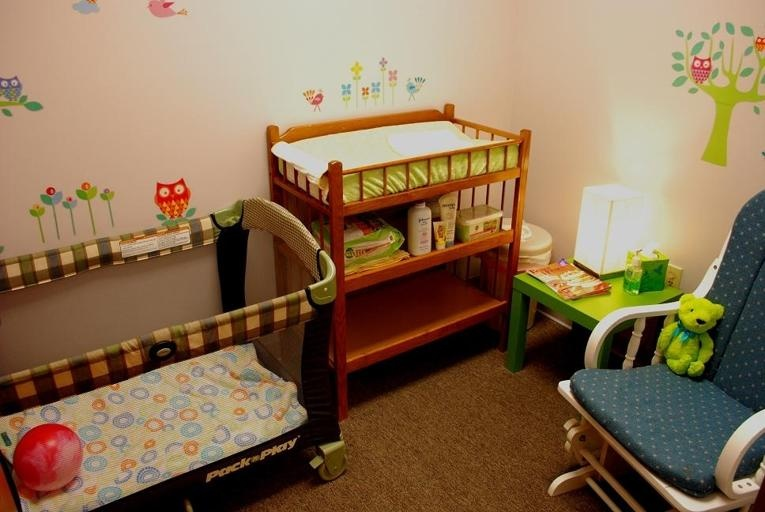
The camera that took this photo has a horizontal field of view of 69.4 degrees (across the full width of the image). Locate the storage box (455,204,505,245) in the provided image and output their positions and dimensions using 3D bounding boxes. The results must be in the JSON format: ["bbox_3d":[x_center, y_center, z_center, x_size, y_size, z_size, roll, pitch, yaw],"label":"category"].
[{"bbox_3d":[0.515,-0.182,3.019,0.256,0.129,0.154,-17,27,-27],"label":"storage box"}]

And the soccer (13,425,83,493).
[{"bbox_3d":[-1.285,0.772,2.129,0.216,0.196,0.151,-12,25,-21],"label":"soccer"}]

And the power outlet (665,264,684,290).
[{"bbox_3d":[1.494,0.101,2.836,0.095,0.132,0.018,23,38,37],"label":"power outlet"}]

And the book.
[{"bbox_3d":[0.945,0.096,2.897,0.364,0.393,0.053,8,57,31],"label":"book"}]

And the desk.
[{"bbox_3d":[1.008,0.301,2.942,0.606,0.546,0.605,-23,41,-24],"label":"desk"}]

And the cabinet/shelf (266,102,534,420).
[{"bbox_3d":[0.062,0.039,2.813,1.213,1.327,0.711,-16,34,-24],"label":"cabinet/shelf"}]

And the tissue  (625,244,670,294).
[{"bbox_3d":[1.327,0.069,2.774,0.119,0.244,0.135,-8,30,-7],"label":"tissue "}]

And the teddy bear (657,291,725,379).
[{"bbox_3d":[1.343,0.348,2.392,0.262,0.384,0.241,17,15,35],"label":"teddy bear"}]

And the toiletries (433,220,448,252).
[{"bbox_3d":[0.296,-0.111,2.848,0.071,0.144,0.049,-5,23,-6],"label":"toiletries"}]
